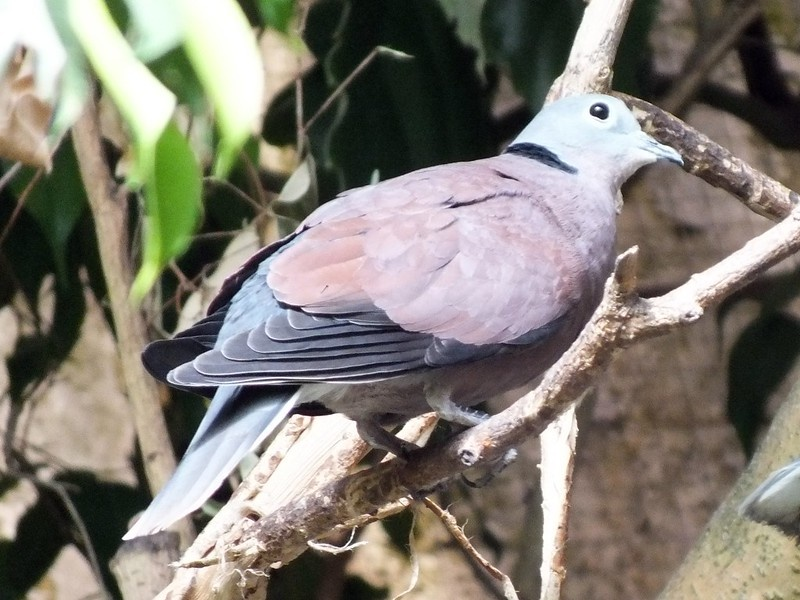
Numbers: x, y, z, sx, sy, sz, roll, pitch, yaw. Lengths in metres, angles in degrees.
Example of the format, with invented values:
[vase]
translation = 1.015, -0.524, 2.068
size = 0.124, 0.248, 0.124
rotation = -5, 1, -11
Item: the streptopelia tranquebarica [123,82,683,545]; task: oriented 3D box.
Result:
[streptopelia tranquebarica]
translation = 0.025, -0.012, 3.407
size = 1.233, 0.572, 0.768
rotation = -4, 88, -24
